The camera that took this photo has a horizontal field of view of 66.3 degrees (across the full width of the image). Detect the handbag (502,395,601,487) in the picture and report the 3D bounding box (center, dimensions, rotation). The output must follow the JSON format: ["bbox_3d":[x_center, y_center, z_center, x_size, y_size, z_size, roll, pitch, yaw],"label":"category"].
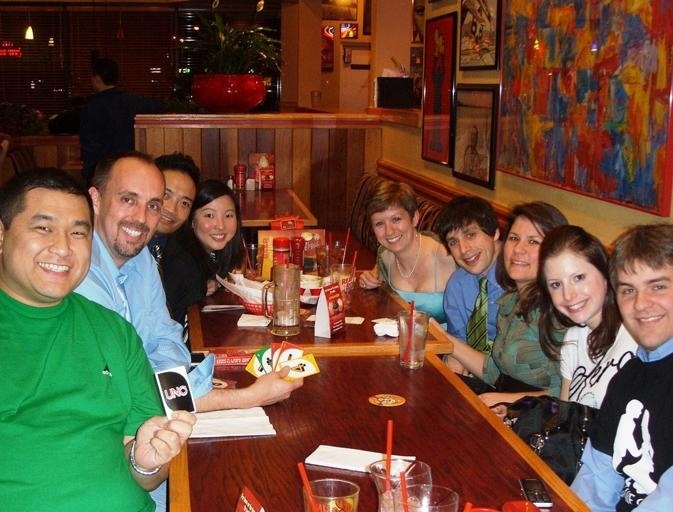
[{"bbox_3d":[0.687,0.600,1.687,0.278,0.293,0.208,-3,-12,19],"label":"handbag"}]

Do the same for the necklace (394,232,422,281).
[{"bbox_3d":[0.436,0.005,3.154,0.193,0.293,0.068,0,1,20],"label":"necklace"}]

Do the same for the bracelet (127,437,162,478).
[{"bbox_3d":[-0.520,0.552,1.384,0.085,0.105,0.040,9,3,-5],"label":"bracelet"}]

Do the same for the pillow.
[{"bbox_3d":[0.454,-0.325,3.868,0.233,0.328,0.796,3,27,-15],"label":"pillow"}]

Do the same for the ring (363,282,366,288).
[{"bbox_3d":[0.159,0.170,2.928,0.014,0.017,0.015,5,-7,1],"label":"ring"}]

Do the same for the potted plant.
[{"bbox_3d":[-1.161,-2.115,5.914,1.059,1.045,0.993,14,16,40],"label":"potted plant"}]

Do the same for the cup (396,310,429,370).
[{"bbox_3d":[0.294,0.323,1.966,0.119,0.193,0.123,2,3,0],"label":"cup"}]
